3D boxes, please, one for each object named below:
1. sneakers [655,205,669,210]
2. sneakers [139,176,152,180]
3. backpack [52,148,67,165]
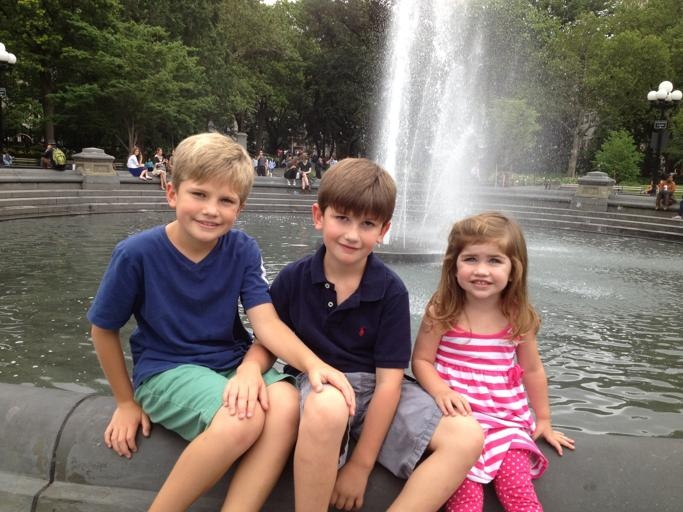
[{"bbox_3d":[9.947,-1.492,16.861,0.356,0.121,0.195,12,15,42],"label":"sneakers"},{"bbox_3d":[-7.329,-2.877,20.182,0.460,0.203,0.181,-2,5,15],"label":"sneakers"},{"bbox_3d":[-11.379,-3.961,21.785,0.458,0.619,0.850,-5,13,-29],"label":"backpack"}]
